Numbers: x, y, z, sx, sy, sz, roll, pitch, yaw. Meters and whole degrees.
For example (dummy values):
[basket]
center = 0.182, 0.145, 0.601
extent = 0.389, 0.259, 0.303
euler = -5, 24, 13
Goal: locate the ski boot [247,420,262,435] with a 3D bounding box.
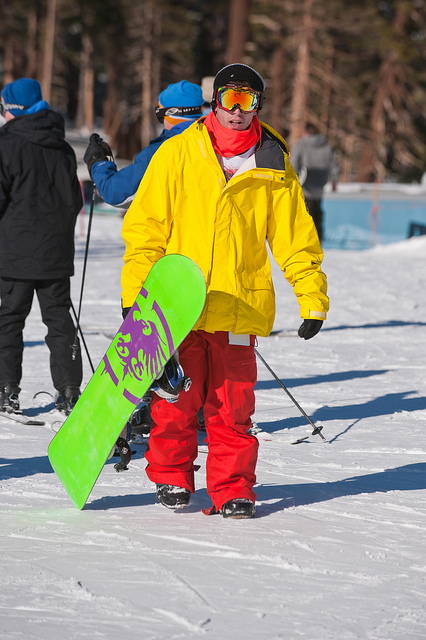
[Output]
[ski boot]
center = 0.224, 0.583, 4.123
extent = 0.076, 0.089, 0.203
euler = 0, -9, 3

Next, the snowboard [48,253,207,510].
[snowboard]
center = -0.324, 0.228, 2.656
extent = 0.573, 0.944, 0.172
euler = 8, 6, 14

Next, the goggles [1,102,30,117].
[goggles]
center = -1.127, -1.185, 4.244
extent = 0.124, 0.041, 0.084
euler = 3, 8, -8

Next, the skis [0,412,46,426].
[skis]
center = -1.041, 0.533, 4.086
extent = 0.087, 0.043, 0.280
euler = 0, 6, -33

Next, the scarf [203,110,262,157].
[scarf]
center = 0.066, -0.649, 2.697
extent = 0.166, 0.092, 0.182
euler = 7, 34, 1
